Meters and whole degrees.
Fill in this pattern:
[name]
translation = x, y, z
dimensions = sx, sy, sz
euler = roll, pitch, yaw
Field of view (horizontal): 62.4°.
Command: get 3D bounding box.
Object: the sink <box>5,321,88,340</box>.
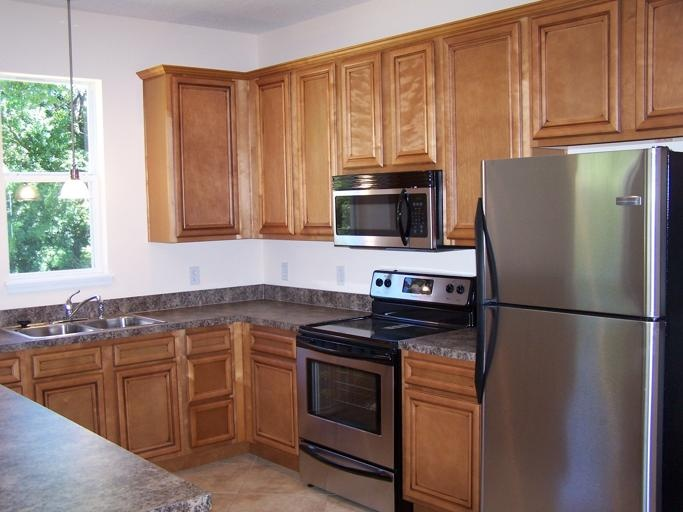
[sink]
translation = -1.941, 0.495, 3.792
dimensions = 0.222, 0.101, 0.266
euler = 2, 0, 45

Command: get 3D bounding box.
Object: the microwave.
[microwave]
translation = 0.330, -0.282, 3.546
dimensions = 0.493, 0.486, 0.634
euler = -6, 8, -44

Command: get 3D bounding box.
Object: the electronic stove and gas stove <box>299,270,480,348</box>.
[electronic stove and gas stove]
translation = 0.295, 0.306, 3.451
dimensions = 0.916, 0.355, 0.606
euler = 3, 8, 44

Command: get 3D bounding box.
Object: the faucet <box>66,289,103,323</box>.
[faucet]
translation = -1.791, 0.351, 3.928
dimensions = 0.259, 0.207, 0.338
euler = -5, 6, -24
